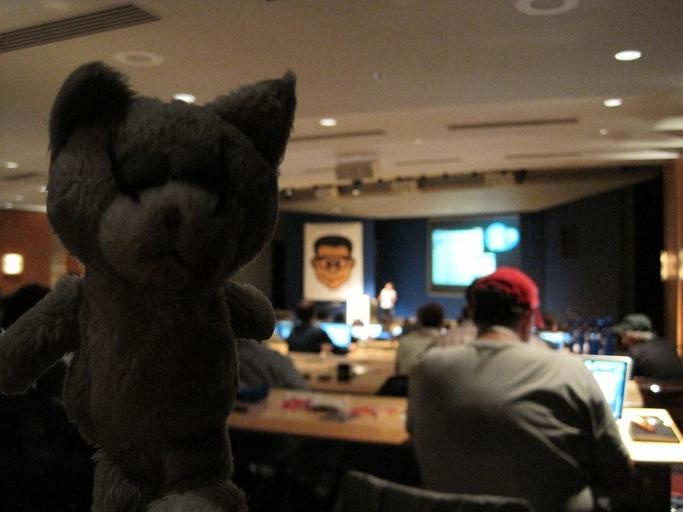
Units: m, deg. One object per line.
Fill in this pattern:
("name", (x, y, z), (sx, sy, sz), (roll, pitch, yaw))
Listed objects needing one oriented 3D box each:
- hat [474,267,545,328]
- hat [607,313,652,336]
("hat", (0.634, 0.156, 2.436), (0.254, 0.129, 0.169), (27, -2, 6))
("hat", (1.821, 0.433, 4.089), (0.198, 0.072, 0.127), (-2, 2, -14))
